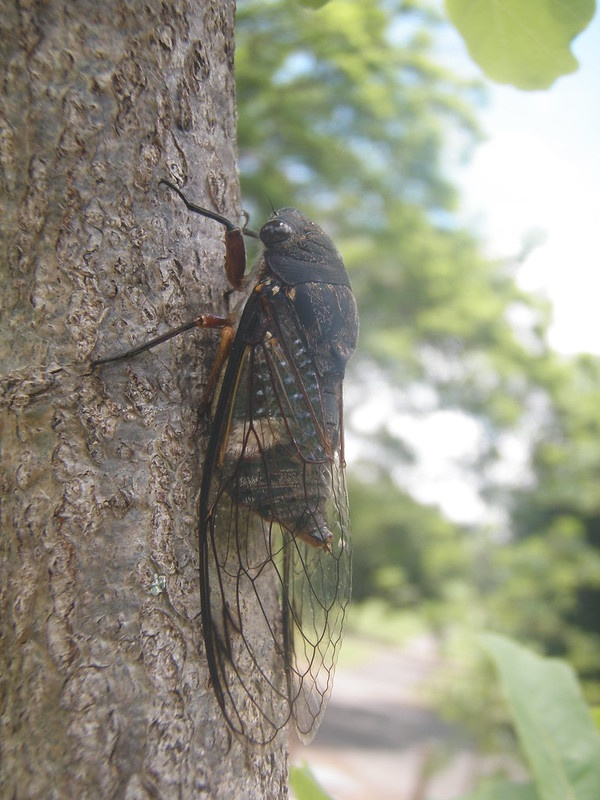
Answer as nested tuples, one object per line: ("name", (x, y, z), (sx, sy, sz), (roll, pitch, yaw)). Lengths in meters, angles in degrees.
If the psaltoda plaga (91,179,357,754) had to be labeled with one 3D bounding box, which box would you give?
("psaltoda plaga", (-0.041, 0.085, 1.193), (0.437, 0.216, 0.591), (8, 77, -60))
